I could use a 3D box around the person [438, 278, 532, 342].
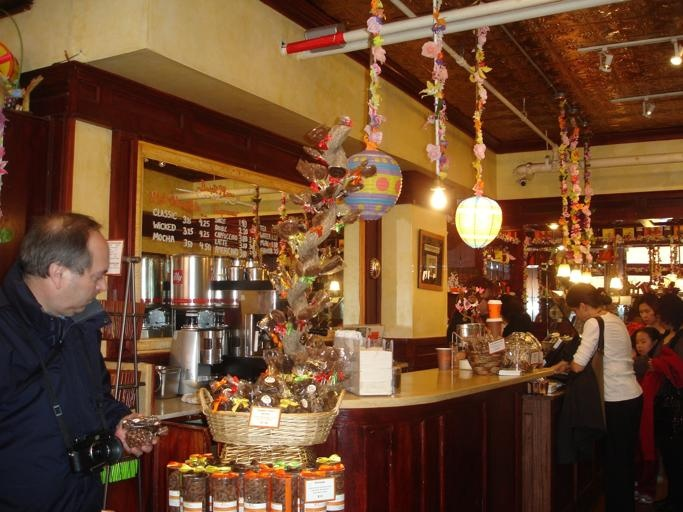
[{"bbox_3d":[1.671,0.573,6.680,0.834,0.697,1.685,-2,-9,9],"label":"person"}]

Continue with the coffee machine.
[{"bbox_3d":[-1.017,0.671,4.109,0.409,0.621,0.737,2,-9,-12],"label":"coffee machine"}]

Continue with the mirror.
[{"bbox_3d":[-1.096,-0.185,5.090,0.104,1.260,2.236,1,0,19],"label":"mirror"}]

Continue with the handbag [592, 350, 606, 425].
[{"bbox_3d":[2.099,1.045,4.628,0.079,0.598,0.257,-5,-10,31],"label":"handbag"}]

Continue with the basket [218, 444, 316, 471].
[{"bbox_3d":[-0.325,0.840,2.437,0.407,0.077,0.228,0,-8,-4],"label":"basket"}]

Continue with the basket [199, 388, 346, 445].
[{"bbox_3d":[-0.334,0.717,2.646,0.718,0.242,0.501,11,-20,-36],"label":"basket"}]

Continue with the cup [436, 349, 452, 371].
[{"bbox_3d":[0.890,0.869,4.882,0.126,0.180,0.158,-1,-9,5],"label":"cup"}]
